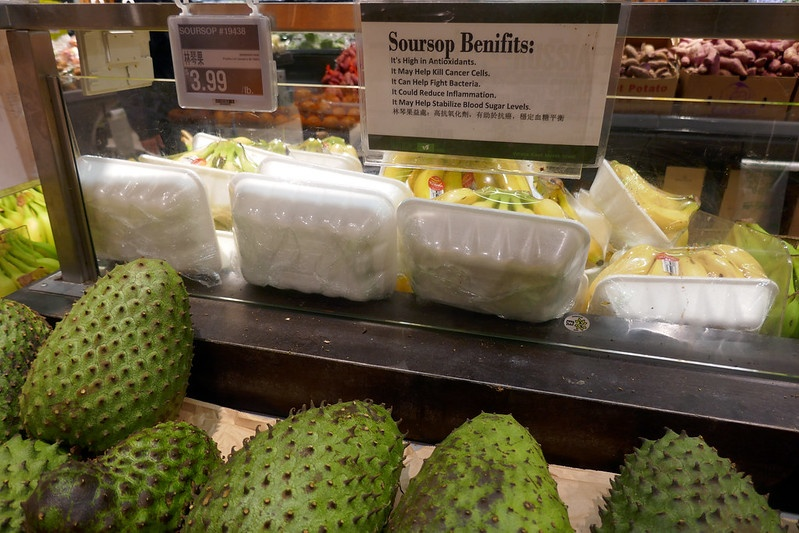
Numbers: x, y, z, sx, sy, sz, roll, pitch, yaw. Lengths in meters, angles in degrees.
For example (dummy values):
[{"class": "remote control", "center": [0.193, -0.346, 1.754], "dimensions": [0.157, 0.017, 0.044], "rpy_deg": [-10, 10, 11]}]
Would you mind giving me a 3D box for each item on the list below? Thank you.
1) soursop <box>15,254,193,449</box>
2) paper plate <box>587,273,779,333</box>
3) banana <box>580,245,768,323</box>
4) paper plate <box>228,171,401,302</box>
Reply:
[{"class": "soursop", "center": [-0.681, 0.228, 1.378], "dimensions": [0.315, 0.293, 0.469], "rpy_deg": [1, 55, 42]}, {"class": "paper plate", "center": [0.768, 0.093, 1.412], "dimensions": [0.277, 0.099, 0.201], "rpy_deg": [-4, -8, 18]}, {"class": "banana", "center": [0.789, 0.053, 1.438], "dimensions": [0.300, 0.110, 0.269], "rpy_deg": [1, 25, 19]}, {"class": "paper plate", "center": [-0.216, -0.096, 1.440], "dimensions": [0.499, 0.349, 0.184], "rpy_deg": [5, 12, 14]}]
